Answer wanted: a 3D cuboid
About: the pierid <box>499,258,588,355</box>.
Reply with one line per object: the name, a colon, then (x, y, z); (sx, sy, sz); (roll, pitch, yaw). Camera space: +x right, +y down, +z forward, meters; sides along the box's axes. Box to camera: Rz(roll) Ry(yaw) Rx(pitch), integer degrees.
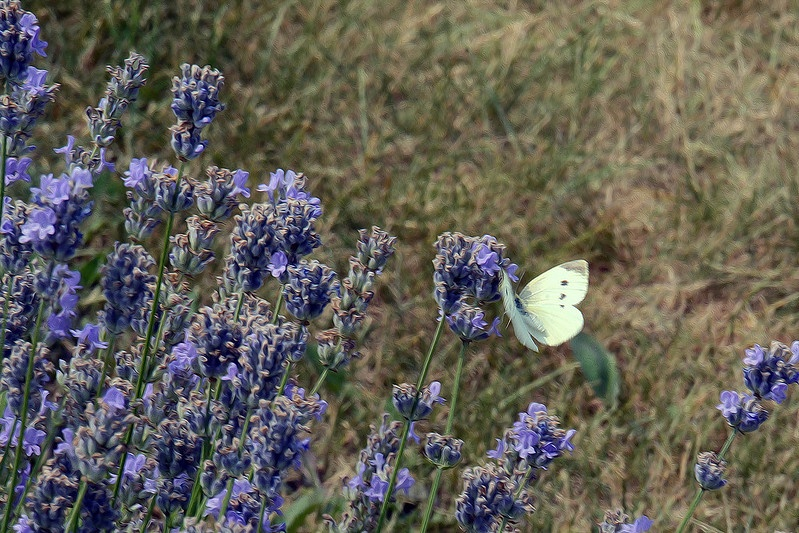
pierid: (0.533, 0.140, 4.221); (0.359, 0.195, 0.329); (-2, 70, -33)
